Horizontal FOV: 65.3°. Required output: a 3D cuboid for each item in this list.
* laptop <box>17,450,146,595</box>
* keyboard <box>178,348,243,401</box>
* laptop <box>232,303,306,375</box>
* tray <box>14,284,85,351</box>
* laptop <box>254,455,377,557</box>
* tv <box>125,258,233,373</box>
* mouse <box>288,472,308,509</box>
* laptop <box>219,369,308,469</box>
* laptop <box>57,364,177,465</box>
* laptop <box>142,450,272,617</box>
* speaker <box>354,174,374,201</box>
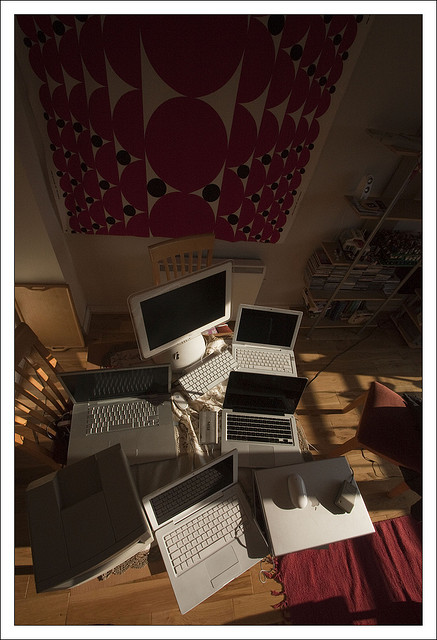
[{"bbox_3d":[-0.451,0.652,1.152,0.320,0.139,0.351,-15,49,-25],"label":"laptop"},{"bbox_3d":[-0.049,0.286,1.866,0.412,0.063,0.187,-20,60,-43],"label":"keyboard"},{"bbox_3d":[0.261,0.124,1.829,0.325,0.253,0.302,6,41,2],"label":"laptop"},{"bbox_3d":[-1.318,-0.039,2.646,0.445,0.565,0.127,-4,40,-7],"label":"tray"},{"bbox_3d":[0.428,0.894,1.551,0.415,0.162,0.650,-14,0,4],"label":"laptop"},{"bbox_3d":[-0.183,-0.015,1.780,0.527,0.542,0.212,-29,53,-23],"label":"tv"},{"bbox_3d":[0.340,0.727,1.464,0.065,0.040,0.128,-12,57,-5],"label":"mouse"},{"bbox_3d":[0.210,0.453,1.570,0.401,0.288,0.423,19,47,12],"label":"laptop"},{"bbox_3d":[-0.427,0.440,1.464,0.431,0.279,0.424,1,66,-12],"label":"laptop"},{"bbox_3d":[-0.041,0.831,1.386,0.449,0.246,0.383,-16,49,-26],"label":"laptop"},{"bbox_3d":[1.043,-0.933,2.409,0.114,0.184,0.105,9,40,0],"label":"speaker"}]
